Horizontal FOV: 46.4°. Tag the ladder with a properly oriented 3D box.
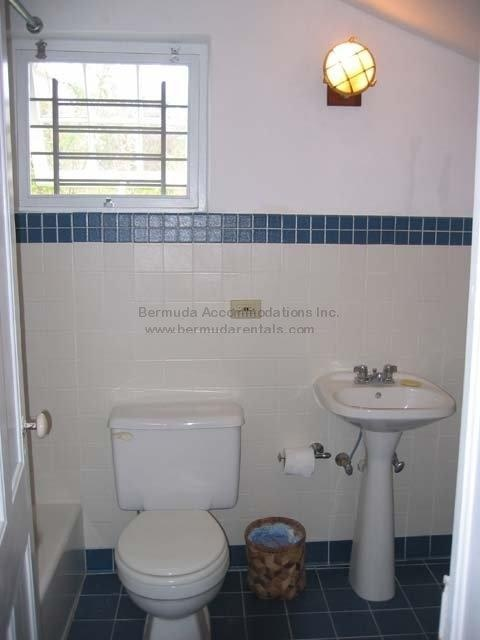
[{"bbox_3d":[-0.505,-0.702,2.089,0.378,0.413,0.030,-2,16,-9],"label":"ladder"}]

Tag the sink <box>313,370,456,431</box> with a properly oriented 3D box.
[{"bbox_3d":[0.506,0.297,1.978,0.444,0.160,0.427,0,7,2],"label":"sink"}]

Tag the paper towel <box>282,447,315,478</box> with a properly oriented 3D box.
[{"bbox_3d":[0.214,0.516,2.073,0.139,0.132,0.092,2,-2,-3],"label":"paper towel"}]

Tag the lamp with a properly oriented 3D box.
[{"bbox_3d":[0.396,-0.891,1.983,0.196,0.230,0.164,1,7,5],"label":"lamp"}]

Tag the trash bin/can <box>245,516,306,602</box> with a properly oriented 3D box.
[{"bbox_3d":[0.133,0.898,2.108,0.225,0.228,0.215,0,7,2],"label":"trash bin/can"}]
